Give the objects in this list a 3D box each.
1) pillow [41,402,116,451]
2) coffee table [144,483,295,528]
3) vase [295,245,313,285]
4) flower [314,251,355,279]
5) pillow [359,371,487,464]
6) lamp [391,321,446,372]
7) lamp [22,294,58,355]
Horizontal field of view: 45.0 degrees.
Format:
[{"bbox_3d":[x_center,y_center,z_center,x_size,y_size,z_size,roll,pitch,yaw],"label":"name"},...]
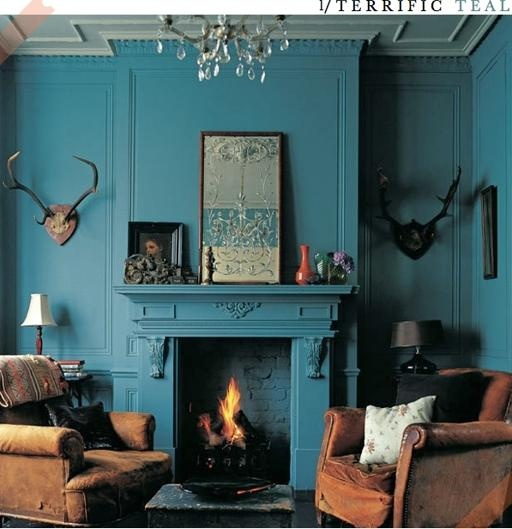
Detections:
[{"bbox_3d":[-1.048,0.997,3.815,0.354,0.320,0.103,13,-45,-45],"label":"pillow"},{"bbox_3d":[-0.166,1.182,2.957,0.708,0.146,0.483,-1,-5,0],"label":"coffee table"},{"bbox_3d":[0.363,0.003,4.691,0.127,0.307,0.122,-1,-4,6],"label":"vase"},{"bbox_3d":[0.593,0.010,4.717,0.300,0.248,0.289,-1,-4,5],"label":"flower"},{"bbox_3d":[0.954,0.866,3.460,0.413,0.336,0.217,-19,-43,41],"label":"pillow"},{"bbox_3d":[1.176,0.622,4.661,0.347,0.384,0.514,0,-4,-3],"label":"lamp"},{"bbox_3d":[-1.716,0.473,4.904,0.249,0.495,0.386,1,-4,-19],"label":"lamp"}]
